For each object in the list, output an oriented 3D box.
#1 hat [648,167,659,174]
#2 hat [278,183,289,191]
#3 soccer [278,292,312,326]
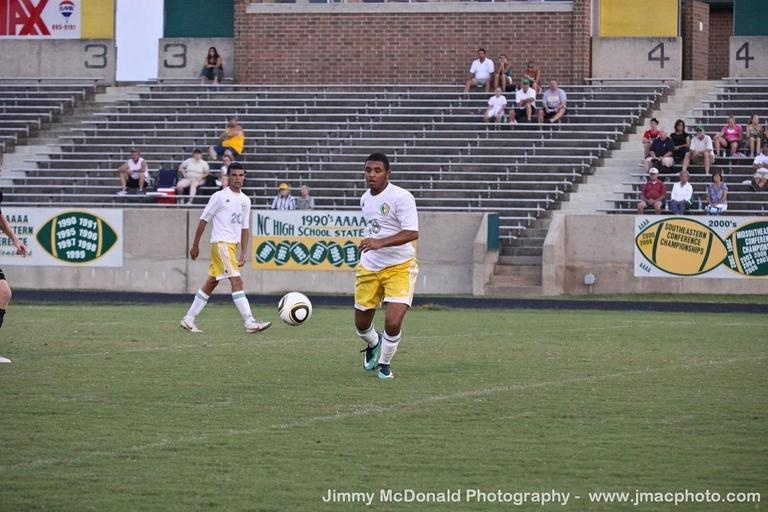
[{"bbox_3d":[7.878,-2.448,58.072,0.224,0.176,0.341,-1,-16,20],"label":"hat"},{"bbox_3d":[-2.938,-2.029,58.877,0.228,0.182,0.320,3,-19,8],"label":"hat"},{"bbox_3d":[-2.164,1.382,48.475,0.741,0.859,0.618,-1,7,-6],"label":"soccer"}]
